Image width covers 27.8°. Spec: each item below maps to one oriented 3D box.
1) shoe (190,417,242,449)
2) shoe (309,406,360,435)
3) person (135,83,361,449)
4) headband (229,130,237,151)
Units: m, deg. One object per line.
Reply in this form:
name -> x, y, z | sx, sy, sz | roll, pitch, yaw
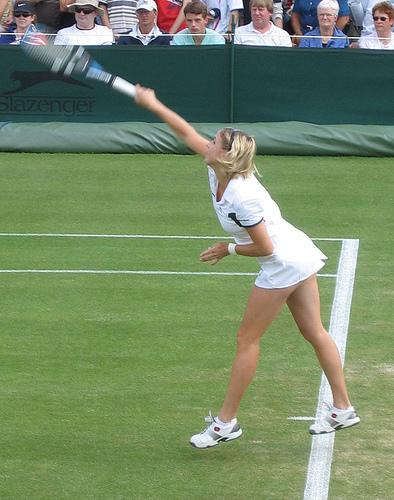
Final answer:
shoe -> 0.129, 1.039, 4.541 | 0.338, 0.116, 0.124 | -20, -8, 23
shoe -> 0.801, 0.979, 4.567 | 0.392, 0.128, 0.114 | -13, 11, 21
person -> 0.447, 0.265, 4.457 | 0.961, 1.840, 0.395 | 5, 9, -1
headband -> 0.191, -0.590, 4.303 | 0.030, 0.106, 0.078 | 6, 8, 2
